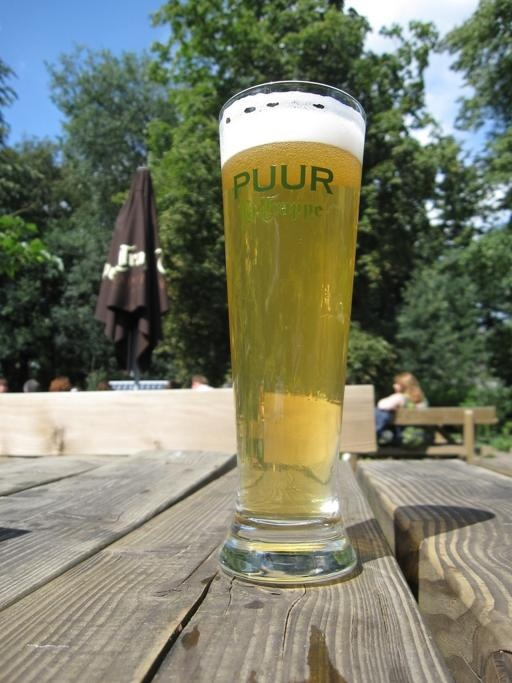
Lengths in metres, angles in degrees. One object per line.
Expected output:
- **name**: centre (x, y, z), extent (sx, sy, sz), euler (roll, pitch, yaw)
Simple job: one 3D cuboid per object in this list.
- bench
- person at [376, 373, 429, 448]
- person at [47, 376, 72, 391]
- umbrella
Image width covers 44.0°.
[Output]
- **bench**: centre (1.320, 0.631, 4.623), extent (0.830, 0.328, 0.641), euler (-1, -3, 9)
- **person**: centre (1.269, 0.558, 5.608), extent (0.421, 0.742, 0.328), euler (19, 38, 28)
- **person**: centre (-2.584, 0.599, 8.420), extent (0.229, 0.181, 0.991), euler (0, -1, -20)
- **umbrella**: centre (-0.756, -0.471, 3.897), extent (0.431, 1.379, 0.672), euler (0, -1, -14)
